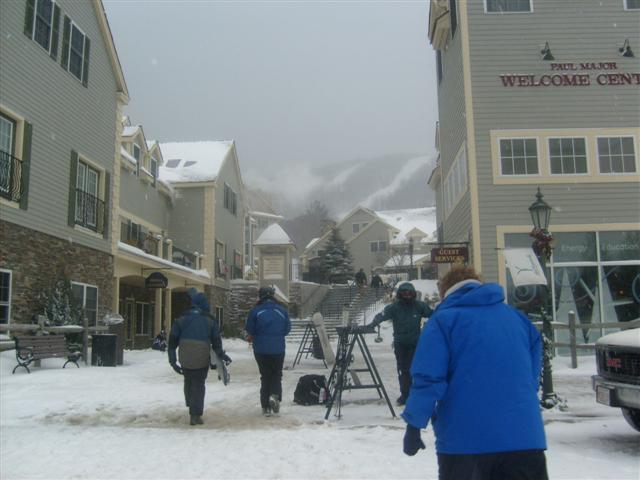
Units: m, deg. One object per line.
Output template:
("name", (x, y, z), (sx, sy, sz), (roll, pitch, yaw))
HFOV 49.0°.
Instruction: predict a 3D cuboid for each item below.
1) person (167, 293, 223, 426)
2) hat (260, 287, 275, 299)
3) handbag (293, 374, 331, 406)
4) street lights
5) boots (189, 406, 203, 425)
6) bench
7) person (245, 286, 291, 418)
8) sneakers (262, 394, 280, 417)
("person", (-2.077, 1.963, 11.763), (0.879, 2.080, 0.780), (0, -2, 1))
("hat", (-0.958, 0.955, 12.791), (0.235, 0.250, 0.191), (-6, 4, -39))
("handbag", (-0.169, 2.845, 13.533), (0.614, 0.602, 0.570), (4, -7, 14))
("street lights", (4.442, 0.702, 13.909), (0.623, 3.394, 0.587), (-25, 27, -28))
("boots", (-2.010, 2.860, 11.432), (0.225, 0.270, 0.271), (0, -2, -8))
("bench", (-6.195, 2.494, 15.567), (0.637, 0.891, 2.169), (0, -3, 16))
("person", (-0.905, 1.932, 12.363), (0.740, 2.175, 0.830), (0, -2, -3))
("sneakers", (-0.833, 2.843, 12.041), (0.271, 0.337, 0.239), (0, -2, -6))
